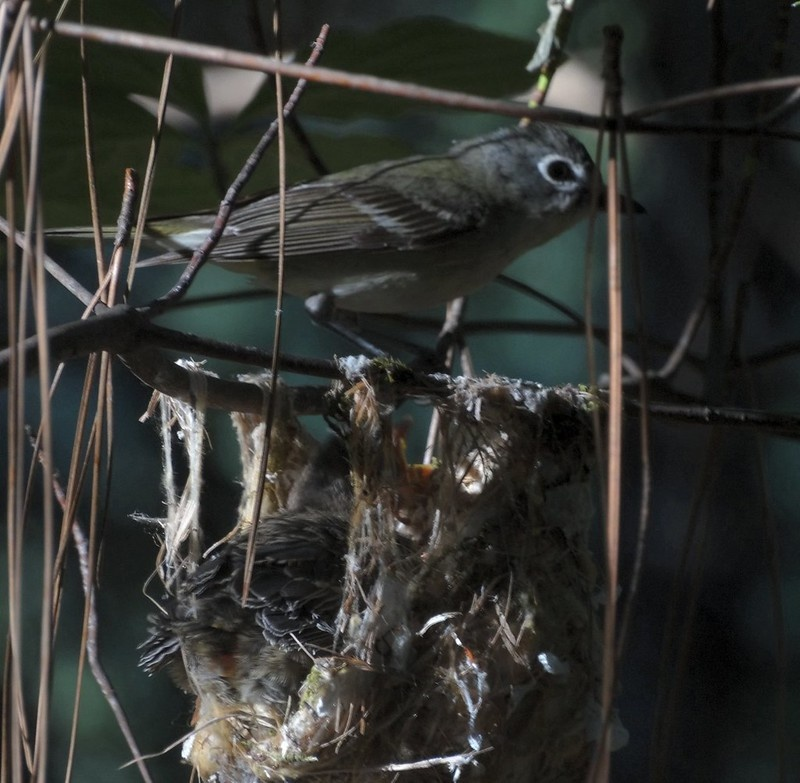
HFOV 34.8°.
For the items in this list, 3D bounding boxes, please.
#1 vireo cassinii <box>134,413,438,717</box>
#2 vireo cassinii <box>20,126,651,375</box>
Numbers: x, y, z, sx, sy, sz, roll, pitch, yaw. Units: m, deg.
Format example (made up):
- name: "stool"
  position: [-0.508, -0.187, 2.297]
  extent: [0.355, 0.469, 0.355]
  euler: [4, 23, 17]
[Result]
- name: "vireo cassinii"
  position: [-0.187, 0.246, 1.603]
  extent: [0.208, 0.339, 0.526]
  euler: [0, -9, 18]
- name: "vireo cassinii"
  position: [0.024, -0.213, 1.850]
  extent: [0.999, 0.377, 0.289]
  euler: [2, -11, 0]
